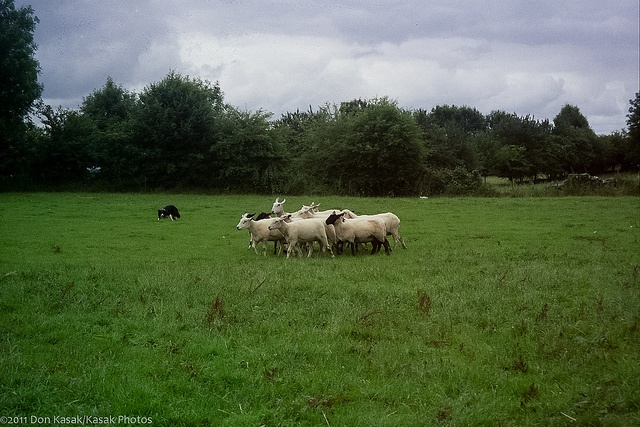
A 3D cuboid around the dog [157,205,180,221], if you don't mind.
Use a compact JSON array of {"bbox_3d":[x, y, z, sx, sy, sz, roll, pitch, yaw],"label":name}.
[{"bbox_3d":[-7.871,-0.076,29.682,1.122,0.658,0.779,0,9,3],"label":"dog"}]
